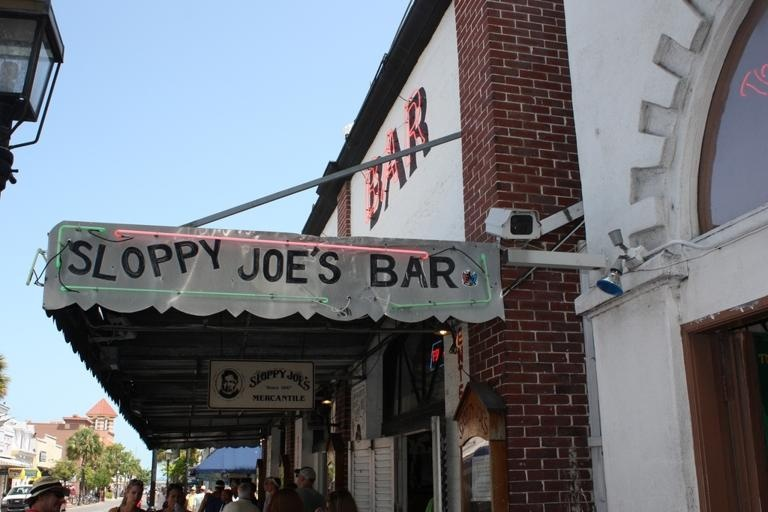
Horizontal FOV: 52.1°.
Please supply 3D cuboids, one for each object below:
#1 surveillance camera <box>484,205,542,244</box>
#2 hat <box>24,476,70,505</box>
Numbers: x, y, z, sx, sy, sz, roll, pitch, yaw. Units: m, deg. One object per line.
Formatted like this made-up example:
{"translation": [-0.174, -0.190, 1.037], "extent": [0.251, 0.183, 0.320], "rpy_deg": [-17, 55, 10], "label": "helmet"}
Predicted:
{"translation": [1.572, -0.389, 9.472], "extent": [0.776, 0.579, 0.364], "rpy_deg": [-1, -13, 3], "label": "surveillance camera"}
{"translation": [-3.483, 2.430, 8.111], "extent": [0.336, 0.184, 0.301], "rpy_deg": [-29, -22, 5], "label": "hat"}
